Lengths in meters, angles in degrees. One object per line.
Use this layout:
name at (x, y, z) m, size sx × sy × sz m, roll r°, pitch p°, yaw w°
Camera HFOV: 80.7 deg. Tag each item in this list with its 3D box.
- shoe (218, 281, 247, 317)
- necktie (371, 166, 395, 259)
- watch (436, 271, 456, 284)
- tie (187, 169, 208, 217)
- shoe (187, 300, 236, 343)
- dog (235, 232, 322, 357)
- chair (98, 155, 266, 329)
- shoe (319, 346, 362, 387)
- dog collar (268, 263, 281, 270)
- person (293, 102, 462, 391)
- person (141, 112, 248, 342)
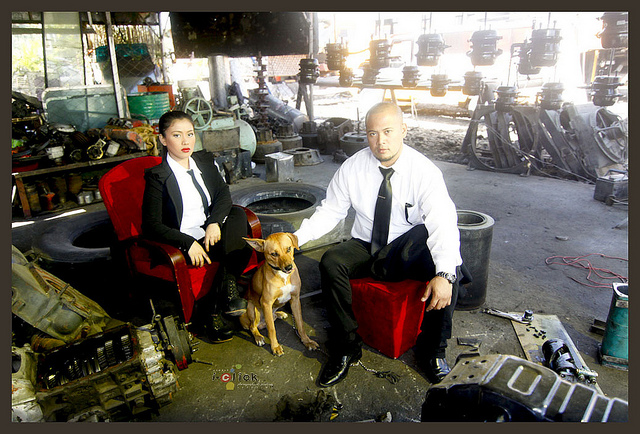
shoe at (-0.803, 0.718, 3.482) m, size 0.166 × 0.318 × 0.492 m, roll 5°, pitch -1°, yaw -33°
necktie at (0.567, -0.035, 3.409) m, size 0.148 × 0.800 × 0.228 m, roll 5°, pitch 19°, yaw 21°
watch at (1.037, 0.482, 3.071) m, size 0.105 × 0.097 × 0.105 m, roll 13°, pitch 0°, yaw 14°
tie at (-1.178, -0.235, 3.818) m, size 0.101 × 0.518 × 0.075 m, roll -7°, pitch 19°, yaw 31°
shoe at (-1.101, 1.018, 3.827) m, size 0.719 × 0.299 × 0.245 m, roll 5°, pitch 12°, yaw 42°
dog at (-0.369, 0.637, 3.483) m, size 0.909 × 1.075 × 0.595 m, roll 18°, pitch 26°, yaw 35°
chair at (-1.457, 0.208, 4.023) m, size 1.158 × 1.489 × 1.105 m, roll 12°, pitch 29°, yaw 27°
shoe at (0.151, 1.305, 3.325) m, size 0.420 × 0.179 × 0.152 m, roll -32°, pitch 26°, yaw -31°
dog collar at (-0.373, 0.435, 3.229) m, size 0.104 × 0.044 × 0.027 m, roll 8°, pitch 19°, yaw 31°
person at (0.529, 0.188, 3.323) m, size 1.380 × 2.298 × 1.120 m, roll 4°, pitch 18°, yaw 18°
person at (-1.136, 0.085, 3.695) m, size 0.982 × 2.144 × 0.798 m, roll 10°, pitch 20°, yaw 32°
